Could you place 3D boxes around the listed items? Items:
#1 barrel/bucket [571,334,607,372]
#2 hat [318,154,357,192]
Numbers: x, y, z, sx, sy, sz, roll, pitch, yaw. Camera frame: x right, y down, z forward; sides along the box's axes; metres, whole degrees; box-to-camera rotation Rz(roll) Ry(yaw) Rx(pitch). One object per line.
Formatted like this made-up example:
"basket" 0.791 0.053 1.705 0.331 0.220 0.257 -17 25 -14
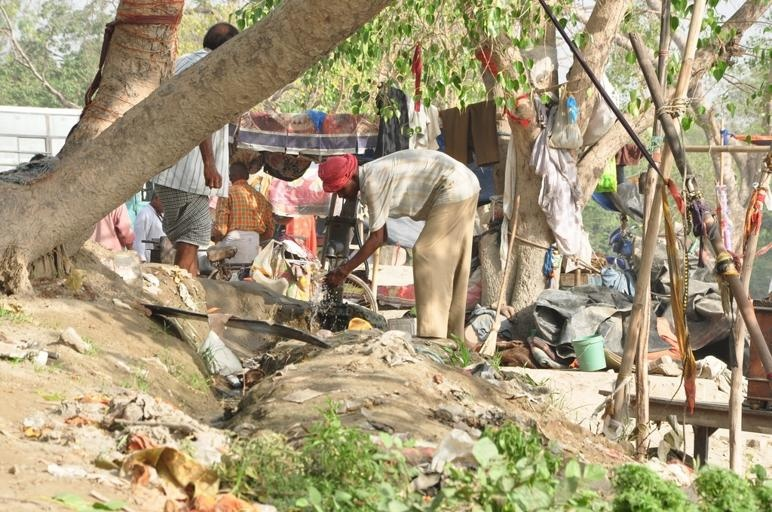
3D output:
"barrel/bucket" 2.570 1.236 14.728 0.489 0.469 0.406 8 -5 -7
"hat" -0.547 -0.967 13.477 0.435 0.466 0.277 8 -5 -4
